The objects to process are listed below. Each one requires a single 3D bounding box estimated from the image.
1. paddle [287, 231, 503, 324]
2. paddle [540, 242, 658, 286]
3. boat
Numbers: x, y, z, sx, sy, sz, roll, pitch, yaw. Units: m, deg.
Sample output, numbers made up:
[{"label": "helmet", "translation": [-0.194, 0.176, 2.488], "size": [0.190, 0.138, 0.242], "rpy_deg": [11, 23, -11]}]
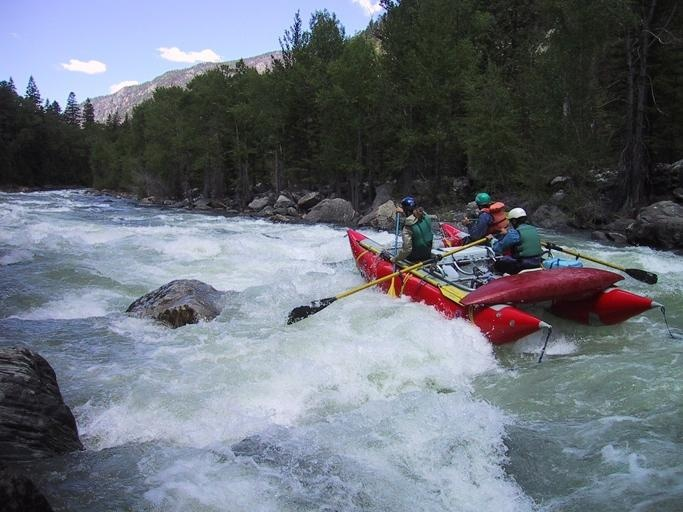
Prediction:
[{"label": "paddle", "translation": [0.929, 0.406, 10.530], "size": [4.174, 0.481, 0.264], "rpy_deg": [-22, 60, -24]}, {"label": "paddle", "translation": [5.443, 0.161, 11.802], "size": [3.440, 0.470, 0.184], "rpy_deg": [15, -22, 42]}, {"label": "boat", "translation": [3.035, 0.651, 9.779], "size": [2.961, 1.294, 2.898], "rpy_deg": [-3, 6, -18]}]
